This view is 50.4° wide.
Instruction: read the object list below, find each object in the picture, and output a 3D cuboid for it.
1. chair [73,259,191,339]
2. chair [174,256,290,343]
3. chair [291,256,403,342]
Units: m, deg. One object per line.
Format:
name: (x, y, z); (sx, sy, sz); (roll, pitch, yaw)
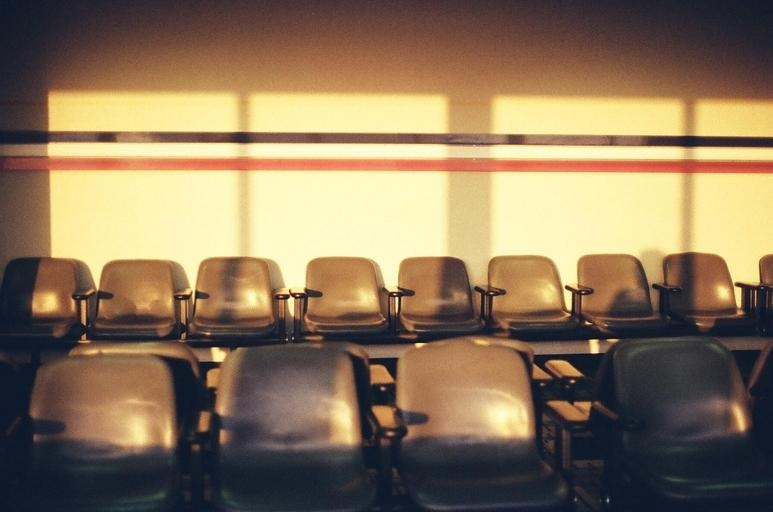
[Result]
chair: (-2.456, 0.426, 8.027); (1.068, 0.805, 0.804); (0, -3, -6)
chair: (-1.460, 0.433, 8.035); (0.995, 0.662, 0.872); (1, -6, -7)
chair: (-0.409, 0.422, 8.161); (0.976, 0.752, 0.784); (1, -8, -6)
